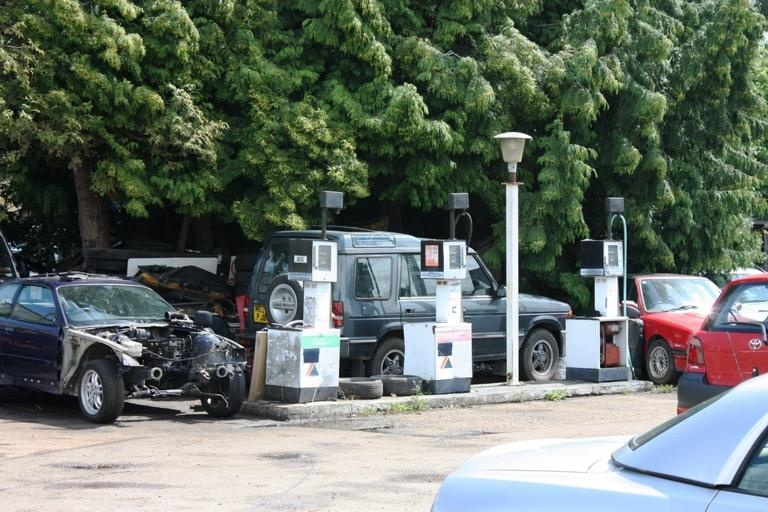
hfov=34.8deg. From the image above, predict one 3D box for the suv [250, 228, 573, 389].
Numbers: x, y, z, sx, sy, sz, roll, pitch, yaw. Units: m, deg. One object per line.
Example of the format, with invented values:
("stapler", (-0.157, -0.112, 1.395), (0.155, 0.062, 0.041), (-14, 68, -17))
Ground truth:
("suv", (0.232, 1.099, 26.077), (5.668, 2.995, 3.351), (-3, 3, -31))
